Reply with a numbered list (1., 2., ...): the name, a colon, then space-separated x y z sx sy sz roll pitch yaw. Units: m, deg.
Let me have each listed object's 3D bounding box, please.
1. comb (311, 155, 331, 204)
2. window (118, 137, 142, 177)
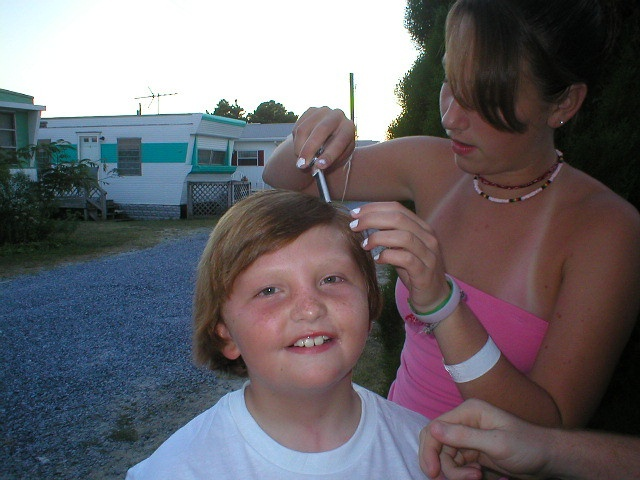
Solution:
1. comb: 0.008 -0.229 1.777 0.043 0.215 0.029 -15 -1 -7
2. window: -7.792 -3.426 19.092 1.088 1.535 0.293 3 8 11
